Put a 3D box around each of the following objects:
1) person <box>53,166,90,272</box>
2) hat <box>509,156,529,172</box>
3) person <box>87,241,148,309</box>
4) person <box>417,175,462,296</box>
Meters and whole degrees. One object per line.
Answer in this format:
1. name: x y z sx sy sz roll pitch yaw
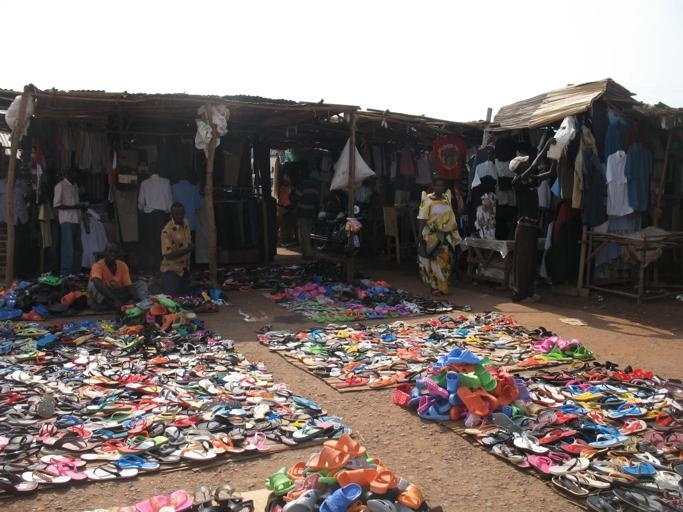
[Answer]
1. person: -5.172 -0.656 10.207 0.340 2.013 0.598 6 16 20
2. hat: 2.849 -1.504 8.747 0.269 0.240 0.216 -1 14 -5
3. person: -3.358 0.308 8.047 0.845 0.922 1.229 -7 9 -43
4. person: 1.736 -0.368 9.659 0.660 2.064 0.582 6 16 20
